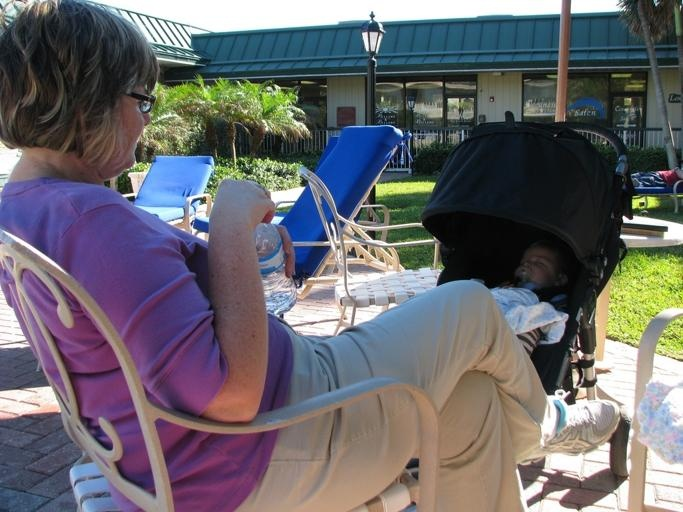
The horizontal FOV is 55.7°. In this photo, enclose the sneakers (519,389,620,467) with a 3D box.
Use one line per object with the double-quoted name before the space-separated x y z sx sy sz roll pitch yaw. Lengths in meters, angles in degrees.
"sneakers" 0.975 0.710 2.764 0.473 0.224 0.275 -14 -5 -41
